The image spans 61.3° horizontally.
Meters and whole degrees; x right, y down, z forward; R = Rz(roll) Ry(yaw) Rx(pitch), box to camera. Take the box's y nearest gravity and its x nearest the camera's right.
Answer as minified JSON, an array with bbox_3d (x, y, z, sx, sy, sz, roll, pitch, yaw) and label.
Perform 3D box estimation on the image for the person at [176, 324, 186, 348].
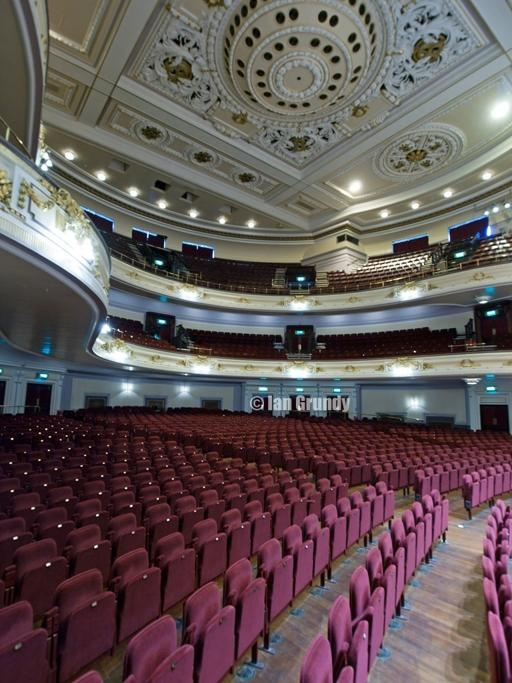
[{"bbox_3d":[-2.932,-0.183,15.346,0.392,1.072,1.421,2,-10,-12],"label":"person"}]
